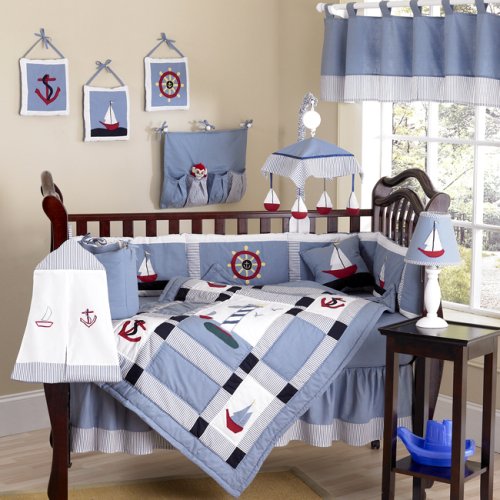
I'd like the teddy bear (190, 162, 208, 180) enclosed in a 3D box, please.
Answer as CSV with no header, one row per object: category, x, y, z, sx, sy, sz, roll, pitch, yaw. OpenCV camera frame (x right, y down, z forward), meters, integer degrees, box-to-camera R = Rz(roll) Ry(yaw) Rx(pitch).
teddy bear,-0.298,-0.444,3.496,0.094,0.097,0.037,-1,2,-36

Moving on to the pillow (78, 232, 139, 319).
pillow,-0.497,0.109,2.254,0.163,0.282,0.161,-7,8,-11

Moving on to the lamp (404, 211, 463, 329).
lamp,0.609,0.066,2.073,0.169,0.384,0.205,0,3,1
